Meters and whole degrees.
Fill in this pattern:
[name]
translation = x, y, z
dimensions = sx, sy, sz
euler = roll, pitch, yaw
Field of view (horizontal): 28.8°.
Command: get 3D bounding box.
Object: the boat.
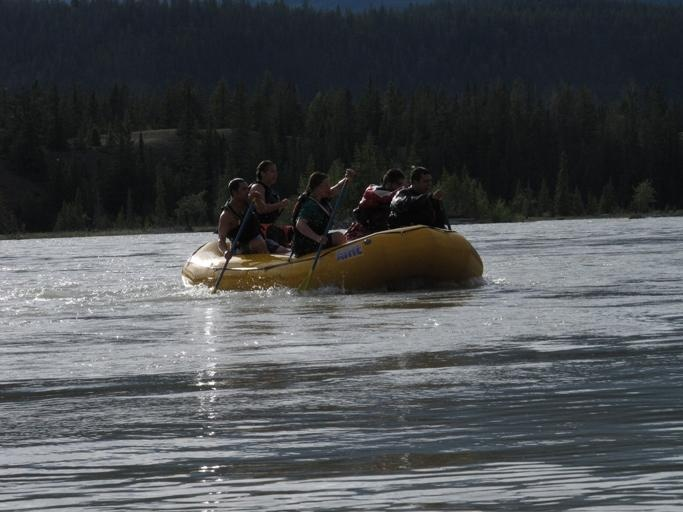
[boat]
translation = -0.153, 0.161, 17.901
dimensions = 2.427, 0.458, 1.545
euler = -6, -6, 31
